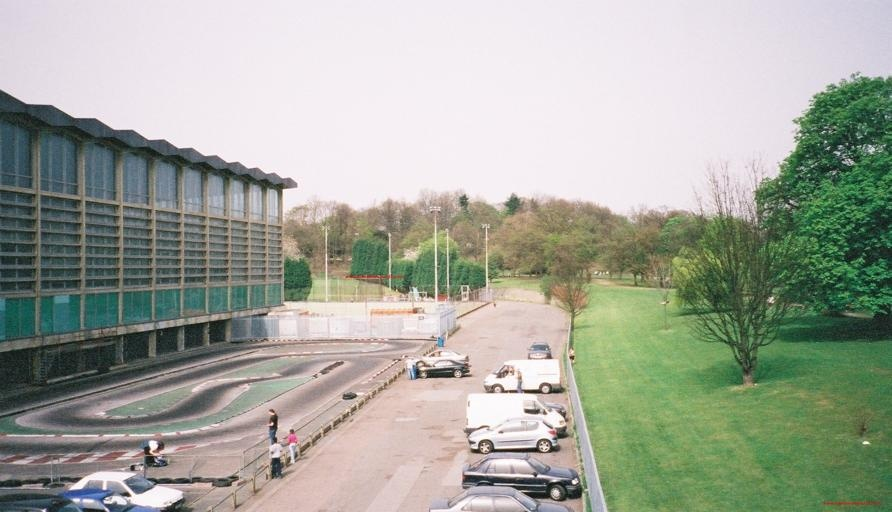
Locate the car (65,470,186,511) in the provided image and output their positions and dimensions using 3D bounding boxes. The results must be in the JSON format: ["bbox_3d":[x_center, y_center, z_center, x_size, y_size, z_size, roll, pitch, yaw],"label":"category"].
[{"bbox_3d":[-21.327,16.352,44.250,6.786,2.114,3.091,3,2,5],"label":"car"}]

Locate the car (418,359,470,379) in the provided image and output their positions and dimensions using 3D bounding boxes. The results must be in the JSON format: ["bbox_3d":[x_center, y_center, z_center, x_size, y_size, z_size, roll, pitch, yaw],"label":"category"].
[{"bbox_3d":[-0.418,11.668,66.211,4.561,1.288,2.036,3,-3,2],"label":"car"}]

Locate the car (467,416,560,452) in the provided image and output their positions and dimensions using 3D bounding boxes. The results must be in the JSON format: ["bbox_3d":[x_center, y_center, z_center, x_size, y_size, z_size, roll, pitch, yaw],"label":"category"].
[{"bbox_3d":[5.068,13.767,49.698,6.059,2.160,2.671,2,-3,3],"label":"car"}]

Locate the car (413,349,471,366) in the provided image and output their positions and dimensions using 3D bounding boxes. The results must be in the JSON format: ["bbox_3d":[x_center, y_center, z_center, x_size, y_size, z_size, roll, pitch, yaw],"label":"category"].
[{"bbox_3d":[-0.131,10.451,66.637,4.555,1.430,2.021,3,-2,4],"label":"car"}]

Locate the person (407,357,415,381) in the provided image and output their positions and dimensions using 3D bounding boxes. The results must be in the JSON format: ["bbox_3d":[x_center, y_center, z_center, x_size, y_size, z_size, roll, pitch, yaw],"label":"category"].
[{"bbox_3d":[-3.406,11.469,65.606,0.815,1.789,1.096,-2,11,-1],"label":"person"}]

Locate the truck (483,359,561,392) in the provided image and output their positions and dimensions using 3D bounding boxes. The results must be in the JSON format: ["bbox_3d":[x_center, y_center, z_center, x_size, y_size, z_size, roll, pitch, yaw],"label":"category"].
[{"bbox_3d":[7.284,11.154,60.383,6.078,2.399,3.190,1,-4,2],"label":"truck"}]

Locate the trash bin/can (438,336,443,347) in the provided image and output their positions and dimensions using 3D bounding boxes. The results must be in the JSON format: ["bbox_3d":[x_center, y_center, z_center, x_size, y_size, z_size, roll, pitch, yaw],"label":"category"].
[{"bbox_3d":[-0.654,10.370,78.158,0.658,1.214,1.280,-1,-3,16],"label":"trash bin/can"}]

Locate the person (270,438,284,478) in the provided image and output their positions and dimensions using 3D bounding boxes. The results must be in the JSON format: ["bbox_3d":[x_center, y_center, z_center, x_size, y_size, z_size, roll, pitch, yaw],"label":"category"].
[{"bbox_3d":[-12.385,14.676,46.975,0.896,2.598,0.931,-4,11,-11],"label":"person"}]

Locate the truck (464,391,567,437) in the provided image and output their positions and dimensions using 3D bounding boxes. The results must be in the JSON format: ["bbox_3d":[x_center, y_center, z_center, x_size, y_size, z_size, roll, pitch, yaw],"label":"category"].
[{"bbox_3d":[5.375,12.674,50.950,6.961,2.662,3.536,-2,2,1],"label":"truck"}]
